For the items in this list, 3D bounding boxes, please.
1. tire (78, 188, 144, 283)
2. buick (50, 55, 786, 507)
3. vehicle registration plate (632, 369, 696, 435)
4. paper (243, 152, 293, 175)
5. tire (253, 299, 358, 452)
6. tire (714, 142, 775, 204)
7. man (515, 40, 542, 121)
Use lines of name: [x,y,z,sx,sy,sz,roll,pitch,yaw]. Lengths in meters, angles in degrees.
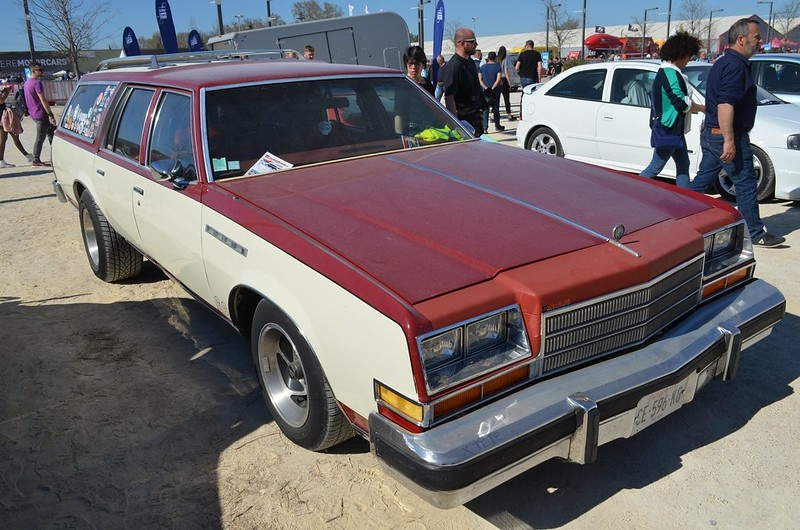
tire: [-2.882,-0.315,5.108,0.242,0.715,0.687,-15,44,-36]
buick: [-0.657,-0.023,4.287,2.804,1.755,5.384,-19,33,-37]
vehicle registration plate: [1.524,0.791,2.963,0.517,0.315,0.023,-19,36,-22]
paper: [-1.001,-0.760,3.803,0.196,0.017,0.177,-18,57,-29]
tire: [-0.548,0.636,3.037,0.244,0.791,0.748,-13,28,-33]
tire: [4.936,-1.414,7.291,0.309,1.046,1.011,7,-9,-4]
man: [3.697,-5.542,14.535,0.619,1.914,0.509,11,53,20]
